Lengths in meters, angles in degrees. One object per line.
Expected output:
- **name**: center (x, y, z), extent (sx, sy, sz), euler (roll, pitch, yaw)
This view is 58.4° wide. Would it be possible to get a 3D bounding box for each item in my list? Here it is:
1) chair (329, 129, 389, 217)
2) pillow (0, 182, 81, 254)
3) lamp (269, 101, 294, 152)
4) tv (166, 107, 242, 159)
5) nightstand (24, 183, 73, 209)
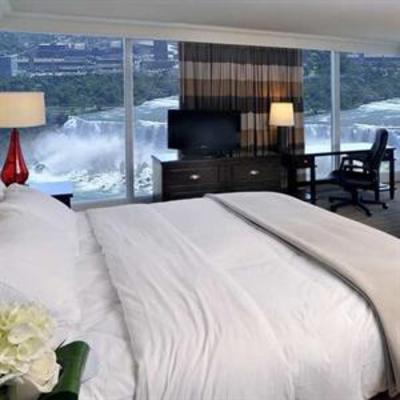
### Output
- **chair**: center (2.026, -0.370, 4.699), extent (0.833, 0.941, 0.815), euler (-13, 15, -41)
- **pillow**: center (-0.874, 0.095, 1.952), extent (0.447, 0.353, 0.259), euler (-2, 24, -24)
- **lamp**: center (1.098, -1.040, 4.945), extent (0.311, 0.674, 0.391), euler (0, 9, 2)
- **tv**: center (0.043, -0.873, 4.601), extent (0.856, 0.480, 0.221), euler (-1, 13, -8)
- **nightstand**: center (-1.094, -0.036, 2.588), extent (0.230, 0.298, 0.217), euler (0, 21, -8)
